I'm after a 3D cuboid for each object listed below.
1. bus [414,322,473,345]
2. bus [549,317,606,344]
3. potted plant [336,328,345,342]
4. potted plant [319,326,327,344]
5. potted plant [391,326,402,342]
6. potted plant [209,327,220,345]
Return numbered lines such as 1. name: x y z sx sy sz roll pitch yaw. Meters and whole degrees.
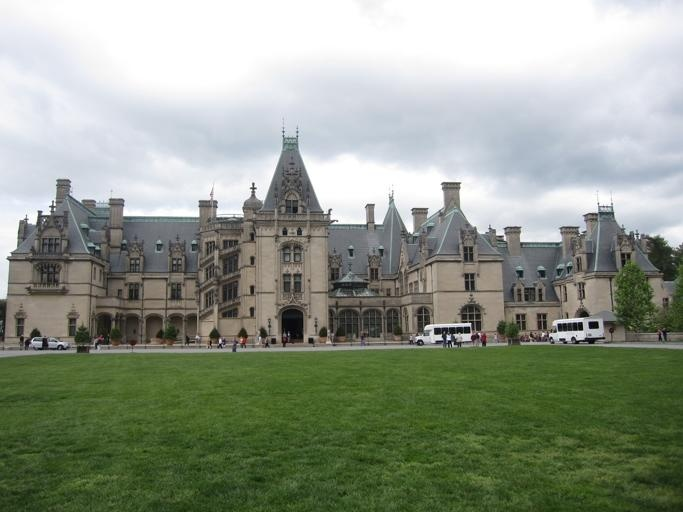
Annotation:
1. bus: 10.426 8.021 70.175 6.482 2.672 2.235 1 -6 -2
2. bus: 23.327 7.226 66.826 2.551 2.237 5.065 3 -3 -19
3. potted plant: -0.051 8.670 75.089 1.181 1.621 1.212 -5 -14 23
4. potted plant: -1.717 8.300 72.049 1.185 1.943 1.200 -1 -4 -5
5. potted plant: 6.287 8.857 78.011 1.335 1.620 1.323 2 -8 -17
6. potted plant: -13.811 8.645 73.147 1.309 1.859 1.326 -11 -13 44
